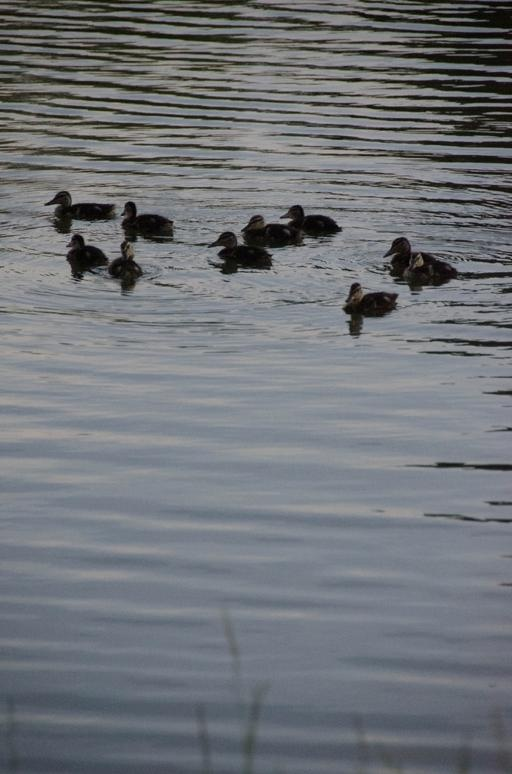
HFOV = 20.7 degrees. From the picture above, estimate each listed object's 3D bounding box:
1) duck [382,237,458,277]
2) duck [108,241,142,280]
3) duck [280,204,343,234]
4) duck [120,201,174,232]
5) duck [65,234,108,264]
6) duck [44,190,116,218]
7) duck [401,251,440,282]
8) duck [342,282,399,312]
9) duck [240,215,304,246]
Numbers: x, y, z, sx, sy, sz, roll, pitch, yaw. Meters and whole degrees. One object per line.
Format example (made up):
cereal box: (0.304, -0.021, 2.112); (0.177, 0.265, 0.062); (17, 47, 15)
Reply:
duck: (1.477, -1.186, 12.902); (0.273, 0.356, 0.787); (-28, 29, -15)
duck: (-1.171, -1.139, 12.539); (0.264, 0.354, 0.384); (7, 33, -3)
duck: (0.515, -1.720, 14.354); (0.692, 0.328, 0.242); (18, 37, 37)
duck: (-1.191, -1.772, 14.413); (0.268, 0.370, 0.620); (-20, 22, -38)
duck: (-1.622, -1.303, 13.030); (0.403, 0.258, 0.236); (17, 26, 38)
duck: (-1.885, -1.982, 15.227); (0.930, 0.343, 0.292); (2, 5, -6)
duck: (1.509, -1.100, 12.684); (0.324, 0.234, 0.172); (5, 12, 10)
duck: (0.984, -0.771, 11.741); (0.436, 0.279, 0.221); (-7, 15, -17)
duck: (0.130, -1.601, 14.101); (0.534, 0.276, 0.326); (6, 9, 30)
